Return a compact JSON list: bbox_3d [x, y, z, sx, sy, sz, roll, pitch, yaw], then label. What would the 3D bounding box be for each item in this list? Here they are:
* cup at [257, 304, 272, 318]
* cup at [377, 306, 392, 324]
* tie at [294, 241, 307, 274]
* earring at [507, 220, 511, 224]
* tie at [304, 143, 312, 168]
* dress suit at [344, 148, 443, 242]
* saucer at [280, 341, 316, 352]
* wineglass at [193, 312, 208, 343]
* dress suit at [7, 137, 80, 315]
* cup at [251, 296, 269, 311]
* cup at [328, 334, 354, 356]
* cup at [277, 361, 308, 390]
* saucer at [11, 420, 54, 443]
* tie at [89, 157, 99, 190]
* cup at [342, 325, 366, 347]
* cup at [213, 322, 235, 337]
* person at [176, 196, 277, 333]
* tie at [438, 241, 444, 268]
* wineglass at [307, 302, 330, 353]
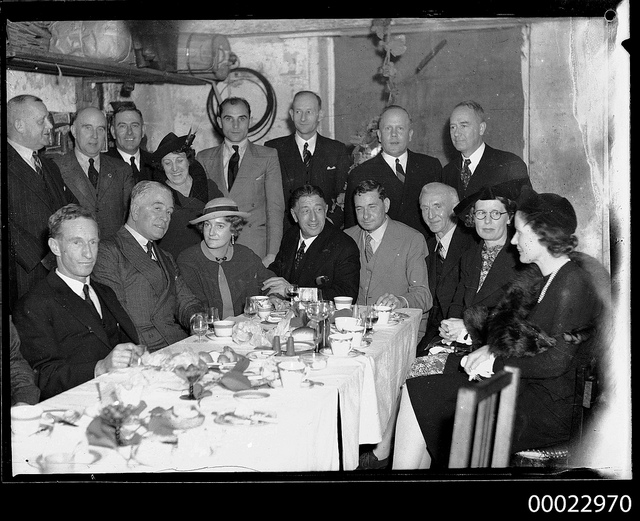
[{"bbox_3d":[-0.287,0.268,3.305,0.076,0.065,0.094,1,6,-5],"label":"cup"},{"bbox_3d":[0.339,0.289,3.249,0.079,0.071,0.082,1,-2,0],"label":"cup"},{"bbox_3d":[-0.130,-0.026,4.214,0.039,0.271,0.031,12,-14,26],"label":"tie"},{"bbox_3d":[1.085,-0.223,3.582,0.028,0.022,0.005,-5,8,-44],"label":"earring"},{"bbox_3d":[-0.085,-0.804,4.714,0.055,0.188,0.025,0,4,2],"label":"tie"},{"bbox_3d":[0.593,-0.462,4.699,0.878,0.788,0.445,-1,-7,-6],"label":"dress suit"},{"bbox_3d":[-0.092,0.371,2.694,0.146,0.038,0.105,1,6,0],"label":"saucer"},{"bbox_3d":[-0.542,0.308,2.863,0.065,0.130,0.068,0,6,-12],"label":"wineglass"},{"bbox_3d":[-1.539,-0.181,3.575,0.342,1.003,0.436,-2,13,-28],"label":"dress suit"},{"bbox_3d":[-0.315,0.228,3.334,0.076,0.059,0.072,-1,2,0],"label":"cup"},{"bbox_3d":[0.091,0.354,2.651,0.095,0.065,0.083,4,6,14],"label":"cup"},{"bbox_3d":[-0.093,0.410,2.209,0.110,0.072,0.077,0,0,-36],"label":"cup"},{"bbox_3d":[-0.927,0.560,2.041,0.107,0.082,0.109,5,4,0],"label":"saucer"},{"bbox_3d":[-1.447,-0.569,4.027,0.053,0.190,0.045,-1,7,-16],"label":"tie"},{"bbox_3d":[0.158,0.345,2.830,0.094,0.072,0.087,1,2,0],"label":"cup"},{"bbox_3d":[-0.444,0.320,2.911,0.070,0.047,0.071,1,0,0],"label":"cup"},{"bbox_3d":[-0.579,0.055,3.786,0.652,0.851,0.479,-17,31,-32],"label":"person"},{"bbox_3d":[0.807,-0.041,4.152,0.036,0.142,0.024,-12,2,-7],"label":"tie"},{"bbox_3d":[-0.006,0.293,2.868,0.105,0.180,0.312,1,6,0],"label":"wineglass"}]
